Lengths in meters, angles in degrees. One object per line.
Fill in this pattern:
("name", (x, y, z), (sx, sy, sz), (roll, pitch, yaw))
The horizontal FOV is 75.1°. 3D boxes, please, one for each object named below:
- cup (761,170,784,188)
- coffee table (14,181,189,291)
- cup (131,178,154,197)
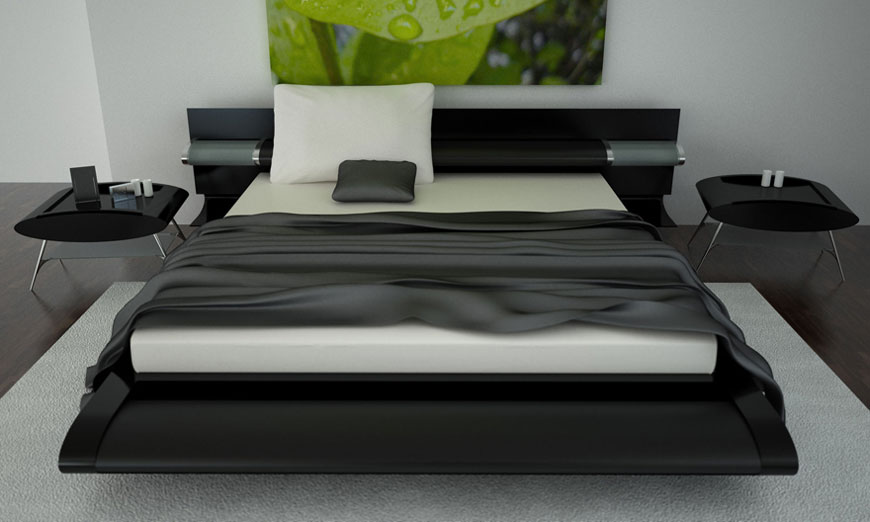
("cup", (2.866, -0.697, 4.818), (0.232, 0.137, 0.079), (-3, 22, -3))
("coffee table", (-2.598, -0.389, 4.755), (1.534, 0.753, 0.923), (-1, 27, -7))
("cup", (-2.400, -0.602, 4.669), (0.096, 0.136, 0.211), (1, 13, 11))
